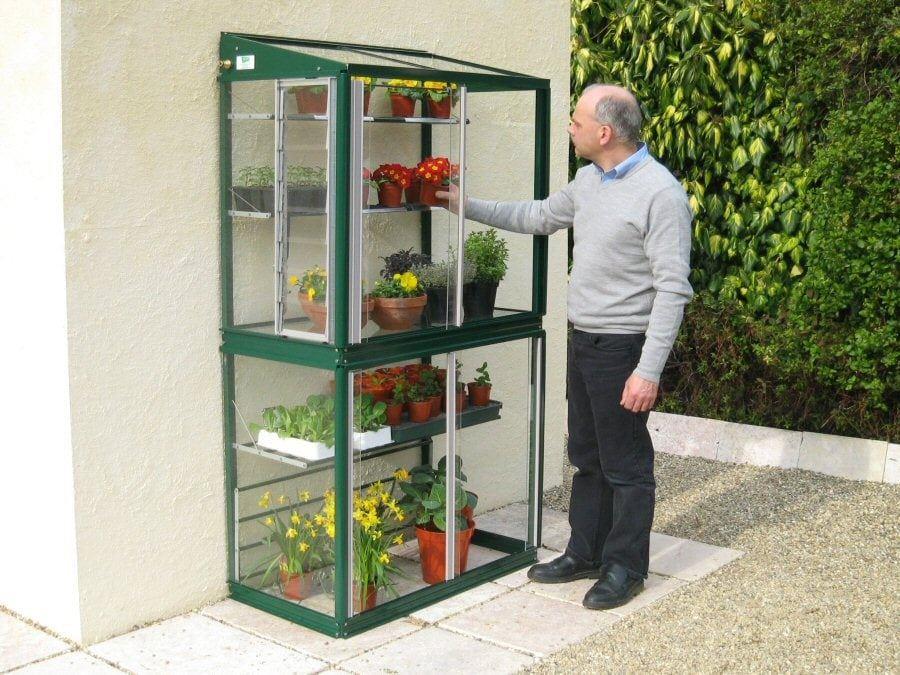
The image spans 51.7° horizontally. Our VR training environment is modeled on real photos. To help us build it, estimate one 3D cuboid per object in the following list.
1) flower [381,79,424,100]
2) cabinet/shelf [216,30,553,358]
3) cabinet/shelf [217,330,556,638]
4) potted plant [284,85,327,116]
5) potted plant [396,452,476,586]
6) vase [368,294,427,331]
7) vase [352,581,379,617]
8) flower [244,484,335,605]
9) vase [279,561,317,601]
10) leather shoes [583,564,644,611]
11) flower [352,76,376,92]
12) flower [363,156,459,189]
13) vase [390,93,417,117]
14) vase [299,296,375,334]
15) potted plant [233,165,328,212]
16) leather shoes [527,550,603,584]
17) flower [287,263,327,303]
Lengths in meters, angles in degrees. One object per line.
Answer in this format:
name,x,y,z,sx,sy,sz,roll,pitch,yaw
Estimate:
flower,-0.196,-1.032,3.889,0.202,0.077,0.067,-12,17,-43
cabinet/shelf,-0.251,-0.635,4.321,0.761,1.394,1.388,6,10,40
cabinet/shelf,-0.246,0.570,4.499,0.833,1.230,1.475,3,3,37
potted plant,-0.568,-0.913,3.676,0.127,0.100,0.130,6,10,43
potted plant,-0.049,0.849,4.342,0.345,0.511,0.348,1,0,14
vase,-0.230,-0.101,3.927,0.154,0.098,0.161,-1,8,15
vase,-0.364,1.108,3.965,0.109,0.087,0.114,1,6,5
flower,-0.645,0.912,4.191,0.419,0.496,0.397,4,-4,1
vase,-0.663,1.039,4.076,0.170,0.186,0.132,0,0,37
leather shoes,0.720,1.104,4.124,0.137,0.133,0.289,4,8,44
flower,-0.340,-1.000,3.706,0.037,0.066,0.192,3,13,12
flower,-0.147,-0.706,3.990,0.247,0.085,0.183,-13,18,-32
vase,-0.204,-0.981,3.948,0.087,0.066,0.087,-5,12,-30
vase,-0.471,-0.126,3.795,0.181,0.118,0.186,8,11,38
potted plant,-0.703,-0.604,3.805,0.519,0.193,0.071,11,16,38
leather shoes,0.518,1.080,4.371,0.352,0.167,0.135,0,7,-8
flower,-0.581,-0.221,3.758,0.066,0.136,0.142,2,-9,-44
